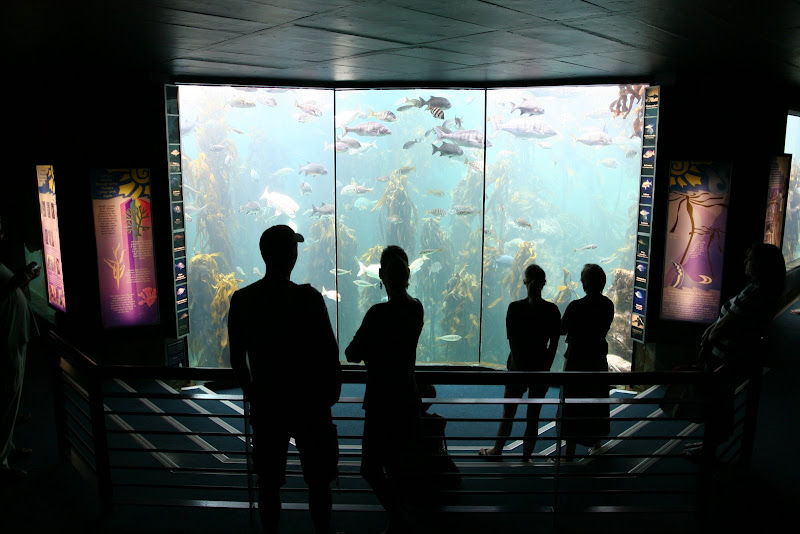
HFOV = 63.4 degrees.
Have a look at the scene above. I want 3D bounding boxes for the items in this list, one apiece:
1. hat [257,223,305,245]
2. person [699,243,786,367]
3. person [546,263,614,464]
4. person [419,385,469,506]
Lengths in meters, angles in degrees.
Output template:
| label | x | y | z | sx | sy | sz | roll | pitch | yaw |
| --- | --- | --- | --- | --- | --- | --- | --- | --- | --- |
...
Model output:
| label | x | y | z | sx | sy | sz | roll | pitch | yaw |
| --- | --- | --- | --- | --- | --- | --- | --- | --- | --- |
| hat | -0.940 | -0.271 | 5.304 | 0.275 | 0.103 | 0.197 | -1 | 5 | -41 |
| person | 3.411 | 0.395 | 6.300 | 0.662 | 1.247 | 0.486 | 1 | 6 | -7 |
| person | 1.826 | 0.976 | 6.360 | 0.517 | 1.972 | 1.065 | 4 | 7 | 18 |
| person | 0.368 | 1.574 | 5.796 | 0.401 | 1.097 | 0.545 | 2 | 6 | 7 |
